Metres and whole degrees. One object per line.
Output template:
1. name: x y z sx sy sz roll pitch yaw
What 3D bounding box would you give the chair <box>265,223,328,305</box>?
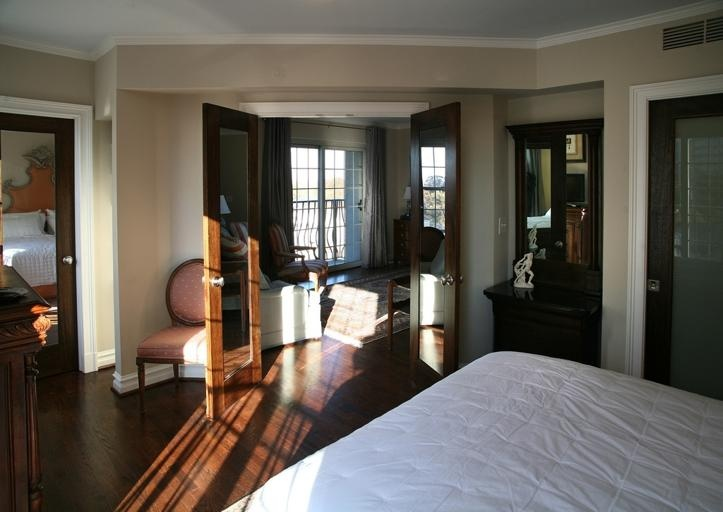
1. chair: -0.996 0.034 8.393 1.035 1.493 0.999 2 10 13

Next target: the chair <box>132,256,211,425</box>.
1. chair: -1.752 0.714 4.671 0.633 1.155 0.816 -4 14 -17

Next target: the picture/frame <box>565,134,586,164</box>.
1. picture/frame: 2.052 -1.019 4.832 0.259 0.322 0.022 5 3 41
